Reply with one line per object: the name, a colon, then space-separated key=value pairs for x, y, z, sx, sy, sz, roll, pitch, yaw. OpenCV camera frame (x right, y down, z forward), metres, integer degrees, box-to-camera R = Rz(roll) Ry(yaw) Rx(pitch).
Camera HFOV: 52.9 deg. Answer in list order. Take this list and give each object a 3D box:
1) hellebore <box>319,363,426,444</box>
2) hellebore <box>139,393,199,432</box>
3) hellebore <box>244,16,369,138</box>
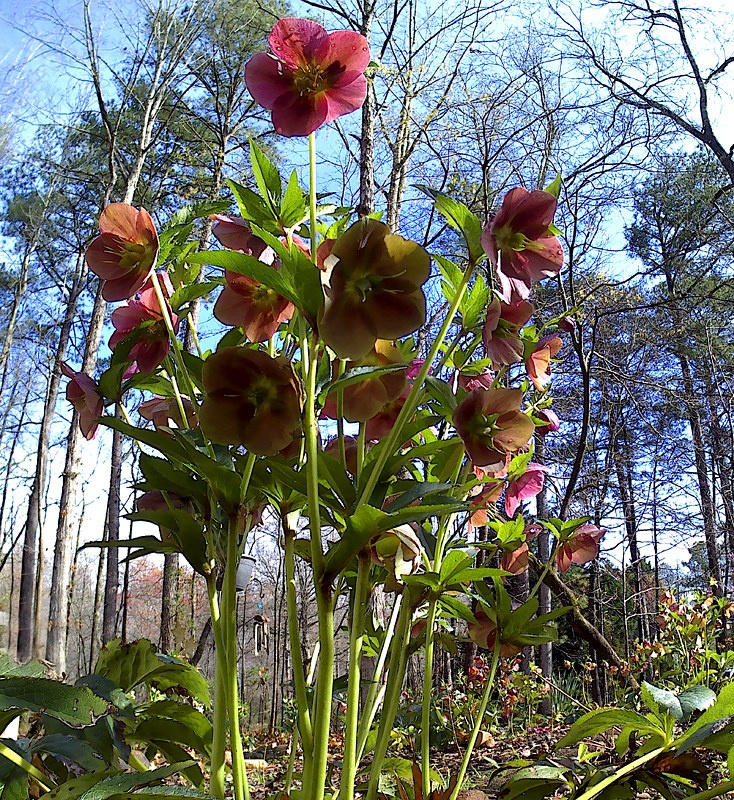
hellebore: x=-0.006 y=0.022 z=1.254 sx=0.158 sy=0.065 sz=0.145 roll=-11 pitch=-45 yaw=-41
hellebore: x=-0.319 y=0.012 z=1.228 sx=0.080 sy=0.071 sz=0.035 roll=-23 pitch=4 yaw=32
hellebore: x=-0.090 y=-0.496 z=1.113 sx=0.178 sy=0.058 sz=0.168 roll=-4 pitch=-5 yaw=31
